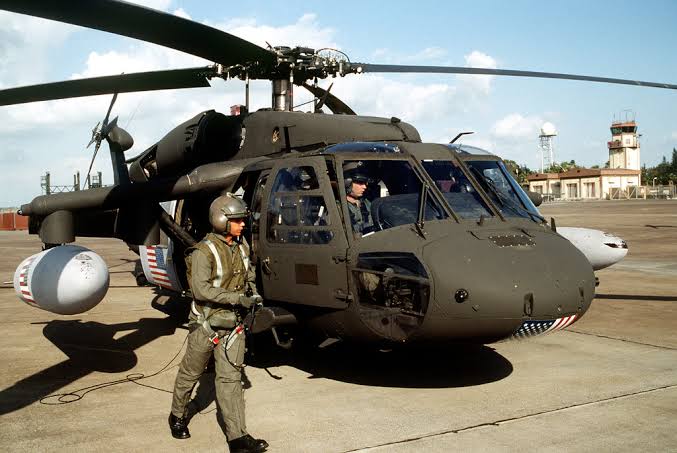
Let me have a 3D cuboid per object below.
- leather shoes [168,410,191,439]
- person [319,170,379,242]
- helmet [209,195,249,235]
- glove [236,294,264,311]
[{"bbox_3d":[-1.877,2.352,6.411,0.153,0.169,0.409,4,-3,-30],"label":"leather shoes"},{"bbox_3d":[0.187,-0.329,7.667,0.615,0.959,0.704,-1,1,0],"label":"person"},{"bbox_3d":[-1.311,-0.135,6.694,0.489,0.414,0.456,2,8,8],"label":"helmet"},{"bbox_3d":[-1.062,0.903,6.399,0.206,0.091,0.268,1,0,-25],"label":"glove"}]
